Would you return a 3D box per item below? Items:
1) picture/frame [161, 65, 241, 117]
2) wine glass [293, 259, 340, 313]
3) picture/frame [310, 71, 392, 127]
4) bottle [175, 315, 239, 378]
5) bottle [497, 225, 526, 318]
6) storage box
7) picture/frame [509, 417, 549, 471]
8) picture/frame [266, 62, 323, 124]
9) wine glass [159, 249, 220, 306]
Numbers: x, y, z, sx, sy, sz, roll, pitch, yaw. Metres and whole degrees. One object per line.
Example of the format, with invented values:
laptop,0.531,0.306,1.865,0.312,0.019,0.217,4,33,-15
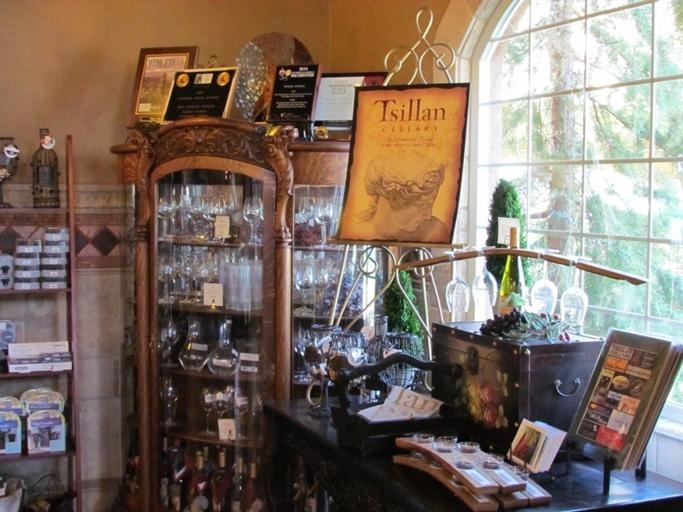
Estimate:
picture/frame,-0.828,-0.977,3.487,0.366,0.338,0.066,2,-25,23
wine glass,-0.149,0.148,3.376,0.257,0.477,0.269,0,4,-1
picture/frame,0.060,-0.946,3.528,0.427,0.355,0.047,2,-20,13
bottle,-0.741,0.503,3.327,0.311,0.338,0.147,1,-2,7
bottle,0.735,0.038,2.494,0.105,0.358,0.554,9,11,15
storage box,0.654,0.356,2.160,0.342,0.398,0.541,2,4,-26
picture/frame,0.604,0.610,1.902,0.040,0.131,0.119,13,2,-22
picture/frame,-0.266,-0.918,3.337,0.358,0.525,0.075,2,-27,12
wine glass,-0.851,0.096,3.442,0.287,0.367,0.309,-1,3,-2
